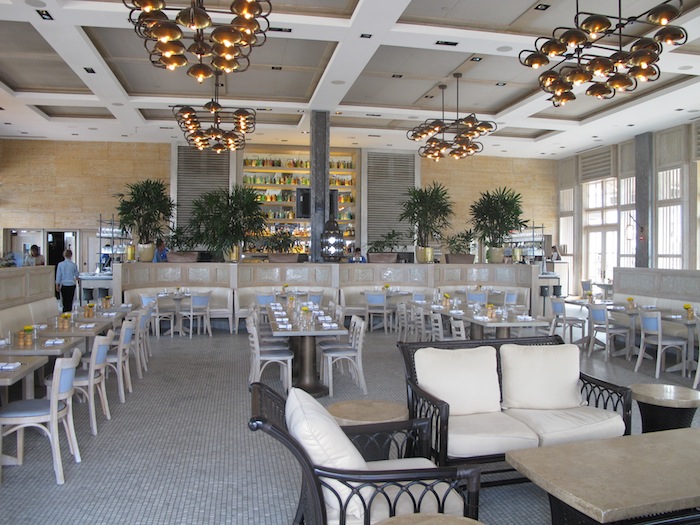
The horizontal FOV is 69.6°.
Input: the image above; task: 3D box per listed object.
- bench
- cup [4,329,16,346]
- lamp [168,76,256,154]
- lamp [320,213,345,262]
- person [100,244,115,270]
[{"bbox_3d":[1.252,1.082,4.350,2.036,1.121,1.171,0,-2,-15],"label":"bench"},{"bbox_3d":[-3.610,0.801,5.336,0.118,0.195,0.115,0,-7,0],"label":"cup"},{"bbox_3d":[-2.912,-3.166,10.598,1.521,2.121,1.454,3,4,17],"label":"lamp"},{"bbox_3d":[-0.356,-0.515,11.694,0.687,1.007,0.472,-2,1,-42],"label":"lamp"},{"bbox_3d":[-7.129,-0.173,14.724,0.359,0.789,0.798,-2,1,-26],"label":"person"}]
